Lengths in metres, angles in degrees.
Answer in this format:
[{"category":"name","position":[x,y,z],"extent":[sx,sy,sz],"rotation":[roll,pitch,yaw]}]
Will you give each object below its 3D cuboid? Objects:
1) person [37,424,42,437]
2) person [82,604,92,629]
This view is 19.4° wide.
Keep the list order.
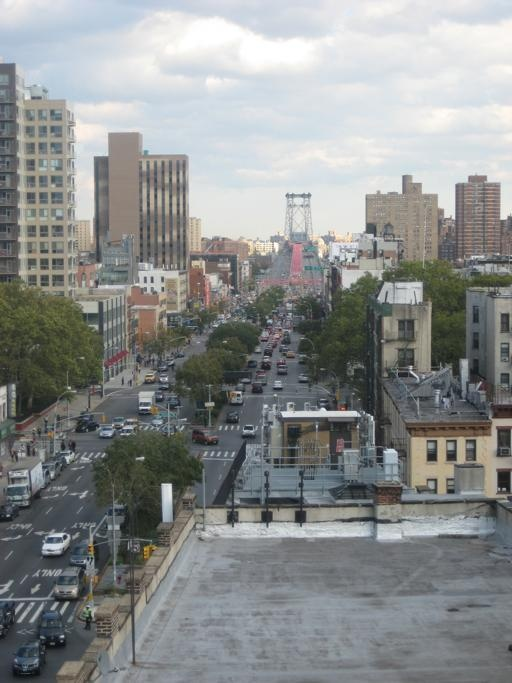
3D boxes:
[{"category":"person","position":[-17.477,7.217,121.234],"extent":[0.490,0.919,0.495],"rotation":[2,7,8]},{"category":"person","position":[-7.013,11.492,62.694],"extent":[0.381,0.956,1.764],"rotation":[-9,1,-9]}]
